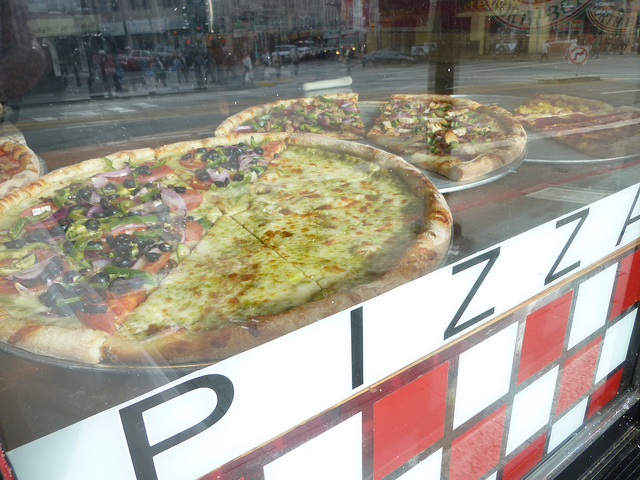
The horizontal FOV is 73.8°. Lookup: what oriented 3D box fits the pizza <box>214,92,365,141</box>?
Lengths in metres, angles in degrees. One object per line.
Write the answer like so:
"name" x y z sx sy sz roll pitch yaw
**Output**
"pizza" -0.058 -0.214 0.769 0.219 0.026 0.098 -7 31 -9
